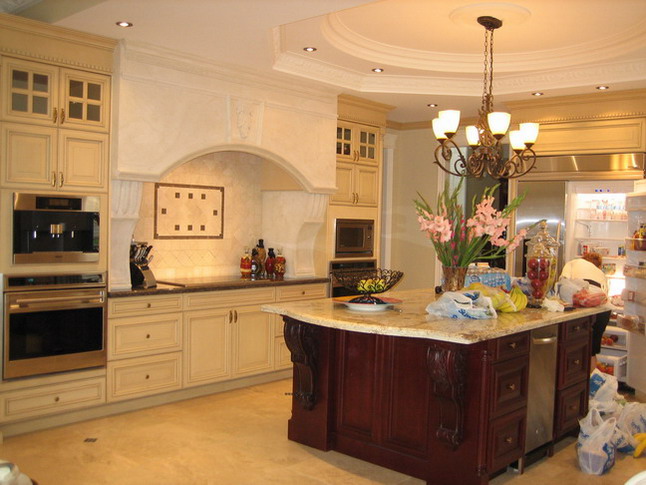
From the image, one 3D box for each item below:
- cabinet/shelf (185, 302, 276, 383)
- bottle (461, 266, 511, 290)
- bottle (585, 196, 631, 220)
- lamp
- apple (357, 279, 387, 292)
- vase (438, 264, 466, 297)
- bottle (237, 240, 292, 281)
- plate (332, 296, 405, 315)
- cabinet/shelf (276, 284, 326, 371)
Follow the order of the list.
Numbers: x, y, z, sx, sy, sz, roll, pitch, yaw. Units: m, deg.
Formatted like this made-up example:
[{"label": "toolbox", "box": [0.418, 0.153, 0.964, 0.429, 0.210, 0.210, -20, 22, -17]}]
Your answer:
[{"label": "cabinet/shelf", "box": [-1.005, 1.065, 5.052, 1.255, 0.847, 0.667, 0, 0, -41]}, {"label": "bottle", "box": [1.498, 0.306, 4.210, 0.297, 0.132, 0.293, 1, 1, 0]}, {"label": "bottle", "box": [3.586, -0.462, 5.987, 0.444, 0.326, 0.128, 2, 3, 18]}, {"label": "lamp", "box": [1.463, -1.293, 4.224, 1.050, 1.408, 0.815, 2, 1, -30]}, {"label": "apple", "box": [0.367, 0.315, 3.514, 0.137, 0.056, 0.136, -5, -1, 18]}, {"label": "vase", "box": [1.144, 0.321, 4.114, 0.268, 0.292, 0.269, 0, 0, 40]}, {"label": "bottle", "box": [-0.725, 0.223, 5.830, 0.495, 0.405, 0.161, 2, -5, -21]}, {"label": "plate", "box": [0.349, 0.475, 3.716, 0.580, 0.073, 0.495, 1, 2, 4]}, {"label": "cabinet/shelf", "box": [-0.141, 0.897, 5.650, 0.869, 0.787, 0.306, -14, -19, 41]}]
